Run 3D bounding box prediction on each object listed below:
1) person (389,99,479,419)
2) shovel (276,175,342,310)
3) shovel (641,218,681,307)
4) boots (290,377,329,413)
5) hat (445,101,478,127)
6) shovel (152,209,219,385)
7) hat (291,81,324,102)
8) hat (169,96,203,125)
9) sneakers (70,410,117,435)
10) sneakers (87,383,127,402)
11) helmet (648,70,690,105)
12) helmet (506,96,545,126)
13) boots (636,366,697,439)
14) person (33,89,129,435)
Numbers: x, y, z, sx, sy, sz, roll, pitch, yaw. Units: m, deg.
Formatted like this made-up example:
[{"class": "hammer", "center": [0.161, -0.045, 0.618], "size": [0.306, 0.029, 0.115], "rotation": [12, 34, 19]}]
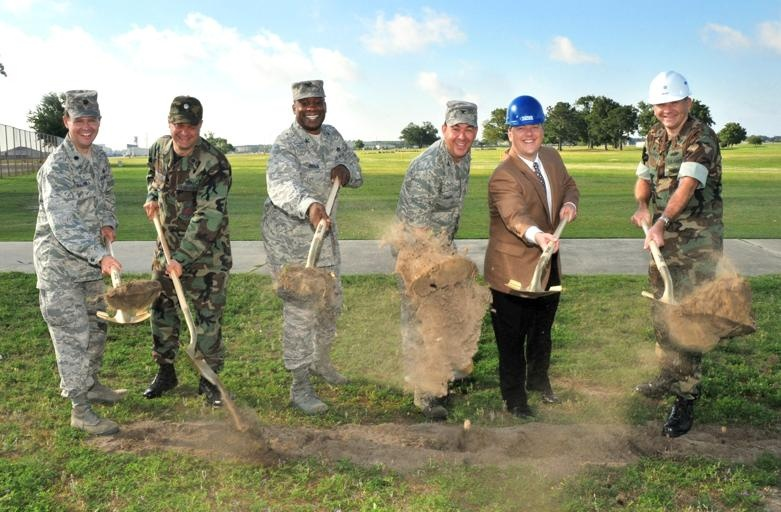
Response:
[{"class": "person", "center": [0.461, 0.059, 8.500], "size": [0.829, 3.415, 0.760], "rotation": [1, 10, 2]}, {"class": "shovel", "center": [-0.754, -0.109, 8.206], "size": [0.670, 1.411, 0.381], "rotation": [16, 0, -1]}, {"class": "shovel", "center": [2.784, 0.058, 8.230], "size": [0.437, 0.935, 0.176], "rotation": [28, -50, -33]}, {"class": "boots", "center": [-0.922, 1.522, 8.743], "size": [0.249, 0.337, 0.581], "rotation": [-9, 14, -37]}, {"class": "hat", "center": [0.735, -1.490, 8.199], "size": [0.328, 0.257, 0.184], "rotation": [1, 9, 2]}, {"class": "shovel", "center": [-2.251, 0.507, 8.704], "size": [0.597, 1.937, 1.270], "rotation": [-3, 9, -20]}, {"class": "hat", "center": [-0.867, -1.757, 8.270], "size": [0.318, 0.210, 0.494], "rotation": [0, 7, -7]}, {"class": "hat", "center": [-2.261, -1.605, 8.659], "size": [0.340, 0.315, 0.184], "rotation": [-2, 9, -22]}, {"class": "sneakers", "center": [-3.119, 1.745, 8.207], "size": [0.499, 0.154, 0.226], "rotation": [8, 13, 3]}, {"class": "sneakers", "center": [-3.194, 1.541, 8.799], "size": [0.454, 0.237, 0.157], "rotation": [0, 15, -16]}, {"class": "helmet", "center": [2.997, -1.899, 8.528], "size": [0.499, 0.310, 0.577], "rotation": [4, 25, 12]}, {"class": "helmet", "center": [1.394, -1.501, 8.130], "size": [0.376, 0.304, 0.350], "rotation": [2, 8, 7]}, {"class": "boots", "center": [3.043, 1.537, 8.500], "size": [0.593, 0.608, 0.847], "rotation": [2, 8, 5]}, {"class": "person", "center": [-3.365, 0.022, 8.418], "size": [0.859, 3.595, 1.271], "rotation": [-2, 10, -19]}]
